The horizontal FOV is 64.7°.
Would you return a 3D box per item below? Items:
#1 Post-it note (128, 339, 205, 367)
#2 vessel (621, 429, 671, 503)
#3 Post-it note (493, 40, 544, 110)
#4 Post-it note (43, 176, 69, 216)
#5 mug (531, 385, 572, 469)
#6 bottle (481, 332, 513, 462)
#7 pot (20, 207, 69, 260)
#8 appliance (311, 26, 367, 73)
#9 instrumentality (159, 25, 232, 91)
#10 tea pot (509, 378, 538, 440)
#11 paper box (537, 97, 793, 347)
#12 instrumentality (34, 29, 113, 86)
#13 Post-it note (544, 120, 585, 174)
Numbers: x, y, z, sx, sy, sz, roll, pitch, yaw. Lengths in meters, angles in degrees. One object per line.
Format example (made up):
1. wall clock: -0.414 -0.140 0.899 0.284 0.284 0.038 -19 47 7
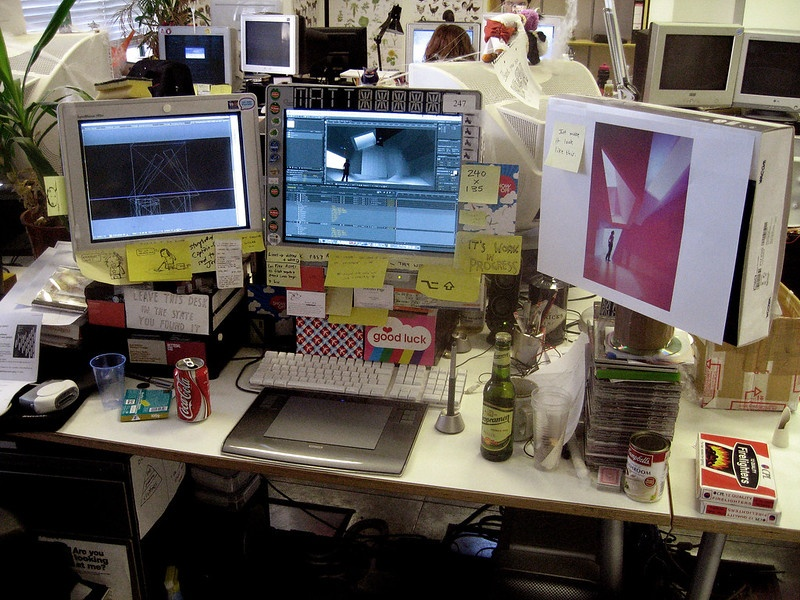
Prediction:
1. Post-it note: -0.667 0.145 1.771 0.125 0.030 0.118 2 10 0
2. vessel: 0.565 0.375 1.431 0.108 0.131 0.102 3 18 10
3. Post-it note: 0.345 -0.635 1.776 0.110 0.178 0.174 9 20 29
4. Post-it note: -0.932 -0.280 1.724 0.051 0.118 0.121 -10 20 -28
5. mug: 0.365 0.305 1.535 0.088 0.156 0.150 4 18 15
6. bottle: 0.240 0.224 1.499 0.093 0.319 0.088 -1 17 0
7. pot: -1.200 -0.229 2.155 0.155 0.119 0.159 5 36 -4
8. appliance: -0.531 -2.021 5.142 0.409 0.375 0.548 -16 23 -40
9. instrumentality: -1.465 -1.777 4.604 0.528 0.409 0.222 -5 18 -12
10. tea pot: 0.316 0.269 1.615 0.082 0.125 0.142 5 35 10
11. paper box: 0.566 -0.161 1.368 0.211 0.483 0.570 -17 33 -38
12. instrumentality: -1.428 -1.052 2.784 0.180 0.232 0.441 -2 18 -4
13. Post-it note: 0.387 -0.355 1.466 0.006 0.111 0.109 -19 34 -40
